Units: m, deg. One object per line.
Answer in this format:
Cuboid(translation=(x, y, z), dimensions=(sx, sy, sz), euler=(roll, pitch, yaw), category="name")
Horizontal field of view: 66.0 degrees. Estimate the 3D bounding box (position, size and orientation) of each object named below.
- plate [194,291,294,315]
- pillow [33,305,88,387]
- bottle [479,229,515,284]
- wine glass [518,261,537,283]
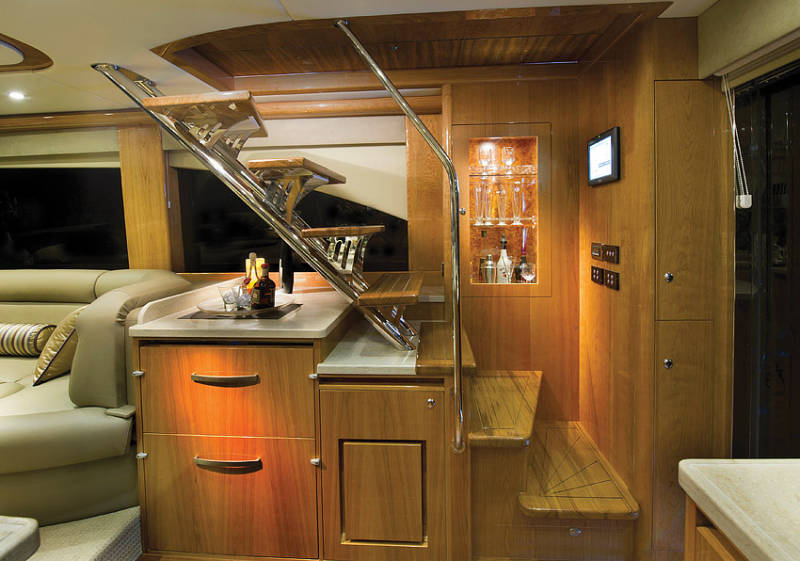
Cuboid(translation=(-0.884, 0.136, 3.619), dimensions=(0.593, 0.133, 0.506), euler=(-2, 3, -10), category="plate")
Cuboid(translation=(-2.096, 0.423, 3.804), dimensions=(0.135, 0.399, 0.379), euler=(29, 13, 13), category="pillow")
Cuboid(translation=(0.629, -0.152, 4.025), dimensions=(0.227, 0.333, 0.072), euler=(-2, 4, 6), category="bottle")
Cuboid(translation=(0.824, -0.045, 3.985), dimensions=(0.138, 0.175, 0.124), euler=(1, 4, -3), category="wine glass")
